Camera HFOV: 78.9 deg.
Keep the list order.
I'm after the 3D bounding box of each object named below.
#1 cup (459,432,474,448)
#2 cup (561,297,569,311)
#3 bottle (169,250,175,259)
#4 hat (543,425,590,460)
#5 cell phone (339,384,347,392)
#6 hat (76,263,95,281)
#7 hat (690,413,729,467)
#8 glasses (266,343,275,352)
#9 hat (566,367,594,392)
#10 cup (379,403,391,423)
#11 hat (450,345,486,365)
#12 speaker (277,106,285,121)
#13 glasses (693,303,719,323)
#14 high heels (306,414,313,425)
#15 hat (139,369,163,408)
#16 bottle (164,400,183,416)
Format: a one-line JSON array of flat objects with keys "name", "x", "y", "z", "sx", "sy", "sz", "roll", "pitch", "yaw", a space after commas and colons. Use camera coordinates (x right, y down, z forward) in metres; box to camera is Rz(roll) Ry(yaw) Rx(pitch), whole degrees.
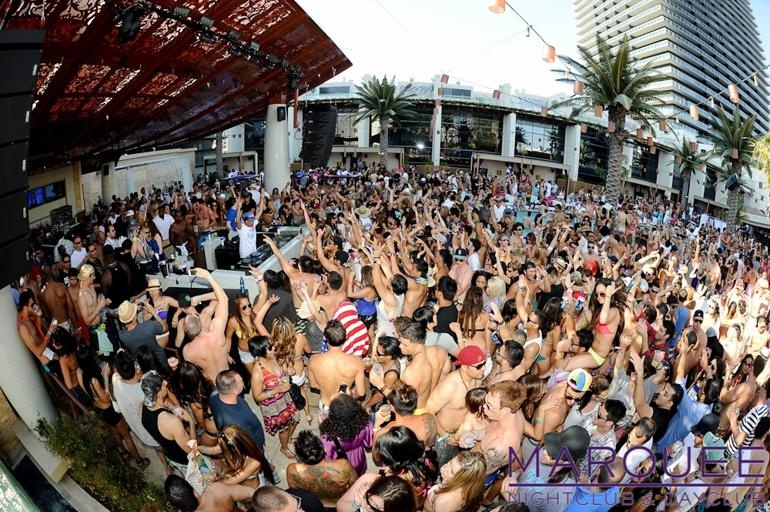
[{"name": "cup", "x": 1.088, "y": 2.399, "z": 6.105, "sx": 0.221, "sy": 0.220, "sz": 0.096, "roll": 21, "pitch": 29, "yaw": -40}, {"name": "cup", "x": 3.178, "y": 0.843, "z": 8.222, "sx": 0.095, "sy": 0.250, "sz": 0.176, "roll": 16, "pitch": -6, "yaw": -26}, {"name": "bottle", "x": -5.003, "y": -0.021, "z": 10.927, "sx": 0.123, "sy": 0.187, "sz": 0.049, "roll": 4, "pitch": -5, "yaw": -5}, {"name": "hat", "x": 2.247, "y": 2.305, "z": 5.779, "sx": 0.560, "sy": 0.388, "sz": 0.186, "roll": 1, "pitch": 8, "yaw": -5}, {"name": "cell phone", "x": -0.567, "y": 1.773, "z": 6.303, "sx": 0.013, "sy": 0.111, "sz": 0.128, "roll": -3, "pitch": -17, "yaw": -30}, {"name": "hat", "x": -5.127, "y": 0.279, "z": 8.019, "sx": 0.248, "sy": 0.265, "sz": 0.069, "roll": 3, "pitch": 4, "yaw": 6}, {"name": "hat", "x": 4.254, "y": 2.421, "z": 6.132, "sx": 0.255, "sy": 0.324, "sz": 0.486, "roll": 9, "pitch": 49, "yaw": 36}, {"name": "glasses", "x": -1.576, "y": 1.246, "z": 6.390, "sx": 0.102, "sy": 0.033, "sz": 0.107, "roll": -5, "pitch": 5, "yaw": 2}, {"name": "hat", "x": 2.449, "y": 1.549, "z": 5.847, "sx": 0.206, "sy": 0.171, "sz": 0.331, "roll": 15, "pitch": 30, "yaw": 19}, {"name": "cup", "x": -0.001, "y": 1.975, "z": 5.944, "sx": 0.132, "sy": 0.232, "sz": 0.207, "roll": -1, "pitch": 9, "yaw": -18}, {"name": "hat", "x": 1.104, "y": 1.271, "z": 6.072, "sx": 0.333, "sy": 0.184, "sz": 0.244, "roll": -2, "pitch": 5, "yaw": 25}, {"name": "speaker", "x": -4.242, "y": -5.721, "z": 18.990, "sx": 0.307, "sy": 0.643, "sz": 0.192, "roll": 0, "pitch": 8, "yaw": -11}, {"name": "glasses", "x": 5.829, "y": 1.033, "z": 8.457, "sx": 0.214, "sy": 0.304, "sz": 0.110, "roll": 21, "pitch": -23, "yaw": 24}, {"name": "high heels", "x": -1.252, "y": 2.682, "z": 7.700, "sx": 0.067, "sy": 0.086, "sz": 0.224, "roll": 3, "pitch": 33, "yaw": -8}, {"name": "hat", "x": -3.029, "y": 1.711, "z": 6.043, "sx": 0.256, "sy": 0.447, "sz": 0.233, "roll": -3, "pitch": 10, "yaw": -28}, {"name": "bottle", "x": -2.863, "y": 2.041, "z": 6.247, "sx": 0.228, "sy": 0.073, "sz": 0.225, "roll": 47, "pitch": 10, "yaw": -11}]
